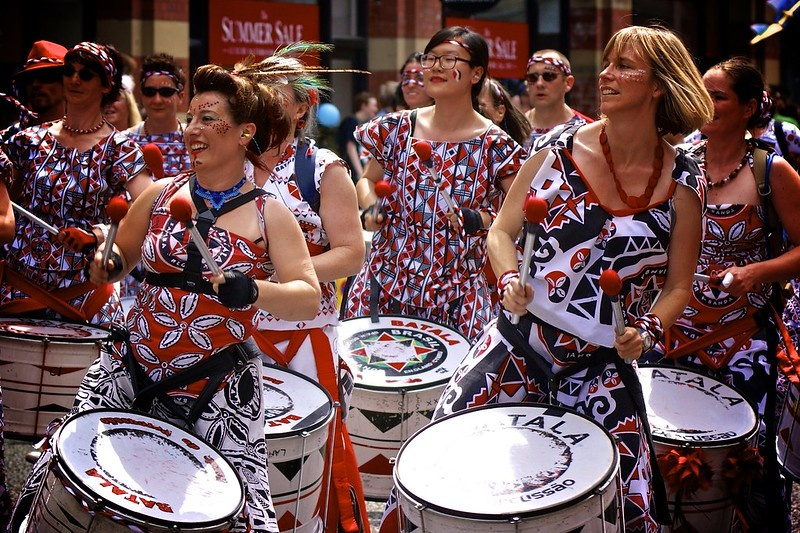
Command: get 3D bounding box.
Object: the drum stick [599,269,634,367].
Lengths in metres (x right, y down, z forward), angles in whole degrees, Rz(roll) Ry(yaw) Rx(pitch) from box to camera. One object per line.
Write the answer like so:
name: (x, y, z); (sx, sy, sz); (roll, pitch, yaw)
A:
drum stick: (0.961, 0.233, 4.706); (0.107, 0.478, 0.111); (-2, 49, 18)

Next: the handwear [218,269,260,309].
handwear: (-0.690, 0.096, 4.462); (0.177, 0.161, 0.078); (-5, 15, -13)

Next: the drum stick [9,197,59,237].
drum stick: (-2.077, -0.277, 5.980); (0.055, 0.059, 0.360); (-28, 54, -34)

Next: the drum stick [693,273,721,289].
drum stick: (1.664, 0.075, 5.683); (0.176, 0.034, 0.041); (15, 21, -27)

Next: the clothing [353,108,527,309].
clothing: (0.161, -0.314, 6.962); (1.159, 1.185, 0.680); (15, -2, 2)

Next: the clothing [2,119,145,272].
clothing: (-1.868, -0.381, 5.917); (0.696, 0.721, 0.384); (16, -4, -5)
